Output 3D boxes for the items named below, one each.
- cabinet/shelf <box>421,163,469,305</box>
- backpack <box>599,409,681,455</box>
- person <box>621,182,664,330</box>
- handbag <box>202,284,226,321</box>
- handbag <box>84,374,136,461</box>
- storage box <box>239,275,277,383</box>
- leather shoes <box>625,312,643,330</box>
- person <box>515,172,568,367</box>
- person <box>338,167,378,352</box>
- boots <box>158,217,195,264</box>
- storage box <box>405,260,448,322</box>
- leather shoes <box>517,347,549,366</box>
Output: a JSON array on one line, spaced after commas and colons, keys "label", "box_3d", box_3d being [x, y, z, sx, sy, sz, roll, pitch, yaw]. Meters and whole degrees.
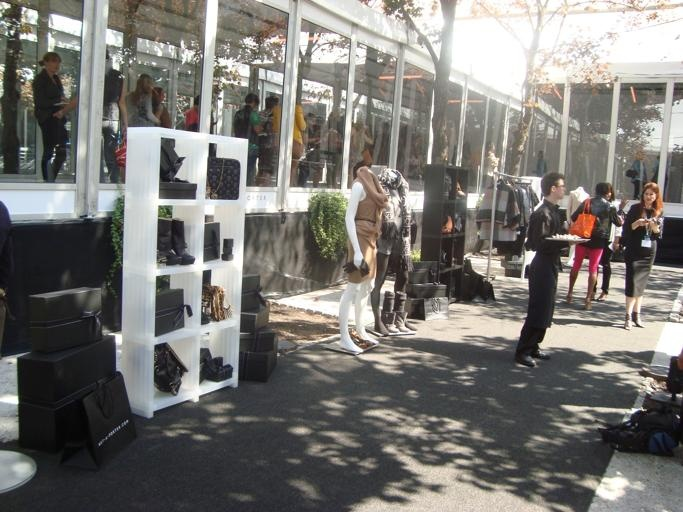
[{"label": "cabinet/shelf", "box_3d": [2.178, 0.217, 10.492, 0.399, 2.482, 1.406, 9, 14, 19]}, {"label": "backpack", "box_3d": [2.837, 1.675, 4.732, 0.498, 0.282, 0.463, 6, -4, 8]}, {"label": "person", "box_3d": [5.250, 0.000, 8.925, 0.549, 2.594, 0.695, 10, 11, 42]}, {"label": "handbag", "box_3d": [-1.406, 0.532, 5.610, 0.279, 0.420, 0.248, -3, 1, 43]}, {"label": "handbag", "box_3d": [-1.920, 1.351, 4.143, 0.166, 0.559, 0.540, -6, 6, 15]}, {"label": "storage box", "box_3d": [-1.023, 0.928, 6.093, 0.512, 1.105, 1.075, 0, 4, 4]}, {"label": "leather shoes", "box_3d": [5.250, 1.181, 9.090, 0.269, 0.323, 0.391, 1, 3, 35]}, {"label": "person", "box_3d": [2.764, 0.185, 6.901, 0.515, 2.633, 0.612, 6, 8, 22]}, {"label": "person", "box_3d": [0.244, 0.028, 6.809, 0.433, 2.533, 0.704, 4, 8, 10]}, {"label": "boots", "box_3d": [-1.604, -0.153, 5.110, 0.354, 0.466, 0.369, 0, 3, -3]}, {"label": "storage box", "box_3d": [1.437, 0.631, 9.321, 0.931, 1.134, 0.863, 0, -1, -38]}, {"label": "leather shoes", "box_3d": [2.606, 1.431, 7.003, 0.236, 0.123, 0.317, 2, 6, 40]}]
